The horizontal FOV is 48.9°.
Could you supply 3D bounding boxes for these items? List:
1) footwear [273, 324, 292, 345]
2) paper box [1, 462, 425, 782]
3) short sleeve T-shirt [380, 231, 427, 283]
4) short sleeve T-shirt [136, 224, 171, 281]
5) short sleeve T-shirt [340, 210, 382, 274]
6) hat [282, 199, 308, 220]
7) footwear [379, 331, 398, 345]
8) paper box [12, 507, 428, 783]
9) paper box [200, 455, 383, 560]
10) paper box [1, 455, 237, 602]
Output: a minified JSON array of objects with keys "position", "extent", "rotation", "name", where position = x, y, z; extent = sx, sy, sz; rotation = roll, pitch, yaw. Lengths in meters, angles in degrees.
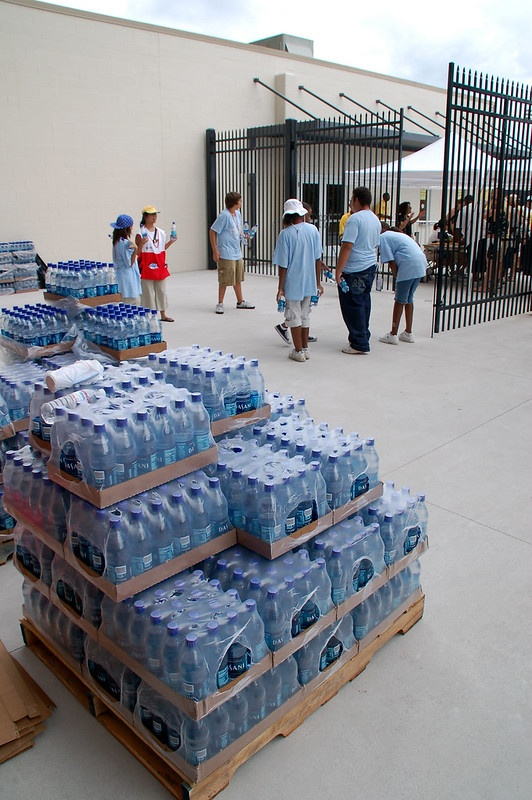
[{"position":[0.222,-0.925,8.004],"extent":[0.156,0.386,0.142],"rotation":[-12,47,14],"name":"footwear"},{"position":[0.008,0.828,2.370],"extent":[1.163,0.529,1.194],"rotation":[21,28,41],"name":"paper box"},{"position":[1.807,-2.017,7.774],"extent":[0.486,0.704,0.513],"rotation":[5,38,38],"name":"short sleeve T-shirt"},{"position":[-1.642,-2.152,8.536],"extent":[0.511,0.726,0.372],"rotation":[-15,26,-35],"name":"short sleeve T-shirt"},{"position":[1.180,-1.986,7.338],"extent":[0.359,0.734,0.640],"rotation":[12,18,40],"name":"short sleeve T-shirt"},{"position":[0.336,-2.206,6.811],"extent":[0.290,0.198,0.390],"rotation":[-4,28,8],"name":"hat"},{"position":[1.746,-0.909,8.365],"extent":[0.129,0.152,0.265],"rotation":[-6,24,-20],"name":"footwear"},{"position":[-0.015,0.786,2.259],"extent":[1.031,0.423,1.008],"rotation":[-16,22,-42],"name":"paper box"},{"position":[0.109,0.417,2.359],"extent":[0.307,0.153,0.452],"rotation":[7,13,35],"name":"paper box"},{"position":[-0.632,0.430,2.223],"extent":[0.663,0.231,0.479],"rotation":[14,20,41],"name":"paper box"}]
